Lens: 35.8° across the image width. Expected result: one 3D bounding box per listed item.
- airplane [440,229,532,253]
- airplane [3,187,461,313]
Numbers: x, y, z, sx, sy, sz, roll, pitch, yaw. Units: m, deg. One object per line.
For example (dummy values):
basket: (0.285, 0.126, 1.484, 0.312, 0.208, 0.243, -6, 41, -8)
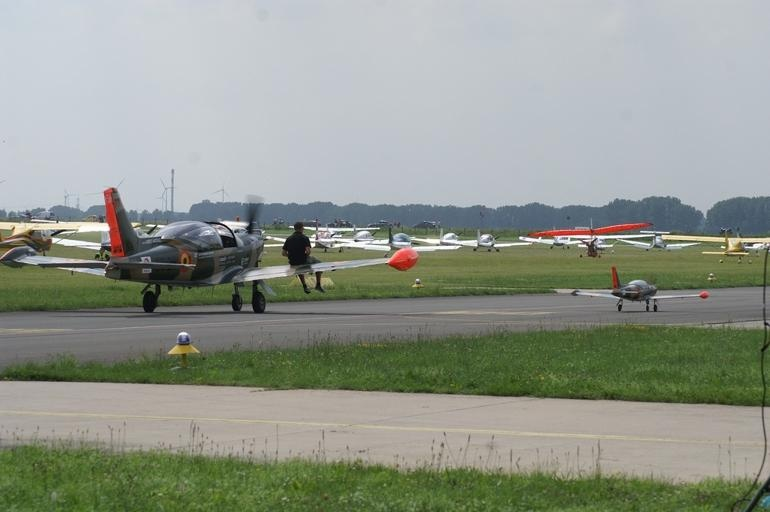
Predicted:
airplane: (16.432, -2.469, 190.667, 8.279, 1.861, 5.937, 3, 4, 20)
airplane: (-7.590, -0.167, 46.563, 14.398, 5.445, 8.271, -1, 8, -12)
